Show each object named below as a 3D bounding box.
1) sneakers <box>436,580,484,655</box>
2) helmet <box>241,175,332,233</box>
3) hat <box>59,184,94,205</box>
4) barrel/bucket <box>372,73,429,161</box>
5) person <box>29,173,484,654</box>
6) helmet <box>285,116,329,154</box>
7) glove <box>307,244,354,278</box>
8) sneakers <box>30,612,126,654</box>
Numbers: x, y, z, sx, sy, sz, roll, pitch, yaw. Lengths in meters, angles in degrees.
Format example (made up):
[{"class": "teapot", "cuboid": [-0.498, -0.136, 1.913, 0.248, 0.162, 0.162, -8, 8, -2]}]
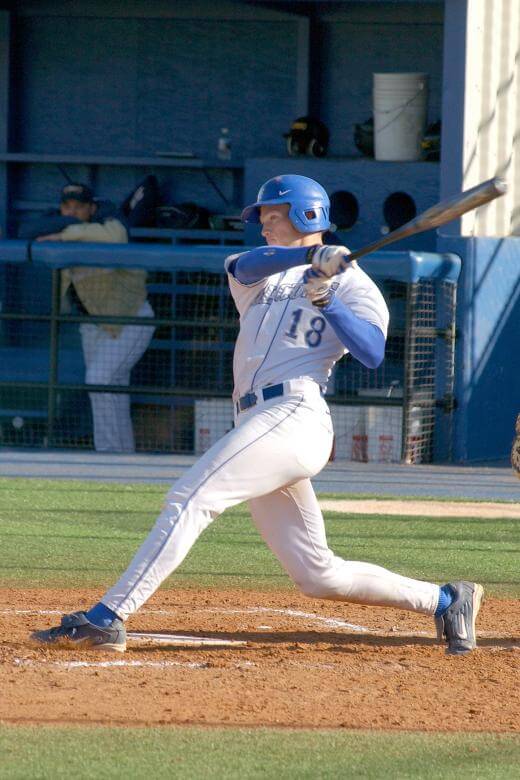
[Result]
[{"class": "sneakers", "cuboid": [0.746, 0.817, 6.011, 0.143, 0.316, 0.109, -5, 5, -3]}, {"class": "helmet", "cuboid": [0.106, -0.640, 5.741, 0.296, 0.216, 0.223, -7, -10, 1]}, {"class": "hat", "cuboid": [-1.229, -1.334, 11.129, 0.151, 0.104, 0.209, -6, -5, 13]}, {"class": "barrel/bucket", "cuboid": [1.041, -1.976, 11.983, 0.385, 0.629, 0.312, 2, -2, 8]}, {"class": "person", "cuboid": [0.037, 0.084, 5.702, 1.473, 1.667, 0.747, 2, -2, 3]}, {"class": "helmet", "cuboid": [0.405, -1.934, 12.639, 0.253, 0.283, 0.345, 19, 23, 27]}, {"class": "glove", "cuboid": [0.248, -0.423, 5.375, 0.121, 0.122, 0.176, 4, -3, -37]}, {"class": "sneakers", "cuboid": [-0.643, 0.833, 5.691, 0.337, 0.125, 0.120, 6, -4, 9]}]
